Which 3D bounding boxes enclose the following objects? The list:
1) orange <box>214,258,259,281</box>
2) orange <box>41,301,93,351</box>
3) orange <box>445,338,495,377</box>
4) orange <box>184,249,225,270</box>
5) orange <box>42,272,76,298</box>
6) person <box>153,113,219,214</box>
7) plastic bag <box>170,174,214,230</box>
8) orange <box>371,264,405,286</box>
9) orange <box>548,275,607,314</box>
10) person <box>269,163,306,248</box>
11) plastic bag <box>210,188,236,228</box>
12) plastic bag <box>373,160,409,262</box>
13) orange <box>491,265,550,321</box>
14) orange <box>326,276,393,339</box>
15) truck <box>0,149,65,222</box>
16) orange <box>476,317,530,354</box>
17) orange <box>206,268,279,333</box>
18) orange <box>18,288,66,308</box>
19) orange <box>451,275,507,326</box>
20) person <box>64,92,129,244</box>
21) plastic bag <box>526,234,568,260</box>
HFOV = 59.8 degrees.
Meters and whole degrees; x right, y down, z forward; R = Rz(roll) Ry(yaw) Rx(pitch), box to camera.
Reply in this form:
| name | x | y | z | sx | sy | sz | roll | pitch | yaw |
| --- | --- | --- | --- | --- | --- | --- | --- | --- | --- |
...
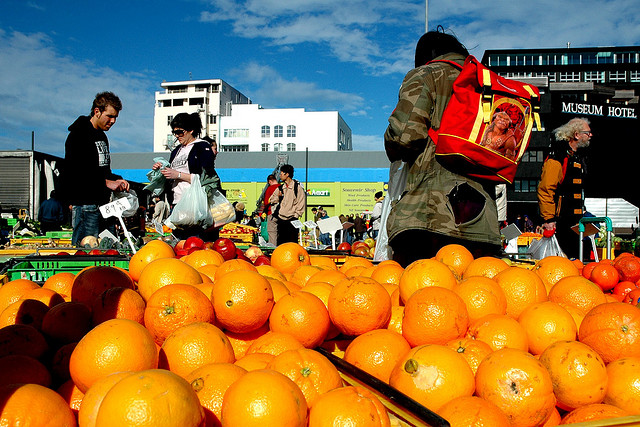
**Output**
| name | x | y | z | sx | sy | sz | roll | pitch | yaw |
| --- | --- | --- | --- | --- | --- | --- | --- | --- | --- |
| orange | -0.587 | 0.358 | 3.786 | 0.161 | 0.197 | 0.178 | -14 | -2 | 22 |
| orange | -1.508 | 0.644 | 3.248 | 0.174 | 0.249 | 0.194 | 8 | -26 | 2 |
| orange | 0.873 | 0.749 | 3.151 | 0.189 | 0.210 | 0.195 | -27 | 20 | -21 |
| orange | -0.886 | 0.342 | 4.246 | 0.173 | 0.160 | 0.183 | 3 | -3 | 8 |
| orange | -1.781 | 0.477 | 3.815 | 0.155 | 0.178 | 0.160 | 0 | 1 | -35 |
| person | -1.722 | -0.677 | 7.153 | 0.741 | 1.310 | 0.870 | -1 | 5 | -36 |
| plastic bag | -1.551 | -0.140 | 6.864 | 0.526 | 0.766 | 0.322 | 4 | 2 | -32 |
| orange | 0.481 | 0.438 | 3.982 | 0.138 | 0.166 | 0.141 | 0 | 1 | -6 |
| orange | 1.661 | 0.516 | 3.616 | 0.248 | 0.284 | 0.264 | -6 | 9 | -25 |
| person | -0.602 | -0.135 | 10.504 | 0.583 | 1.564 | 1.019 | 1 | 4 | -8 |
| plastic bag | -1.283 | -0.081 | 7.221 | 0.150 | 0.434 | 0.384 | -6 | 15 | 46 |
| plastic bag | 0.681 | -0.038 | 5.375 | 0.291 | 0.964 | 0.732 | 2 | 4 | 6 |
| orange | 1.315 | 0.526 | 3.676 | 0.298 | 0.335 | 0.398 | 4 | 50 | 28 |
| orange | 0.242 | 0.564 | 3.461 | 0.322 | 0.403 | 0.410 | 0 | 37 | 14 |
| truck | -10.762 | -0.990 | 20.434 | 1.346 | 1.920 | 2.687 | 0 | 3 | -12 |
| orange | 1.061 | 0.698 | 3.226 | 0.230 | 0.227 | 0.229 | -1 | 45 | 3 |
| orange | -0.466 | 0.522 | 3.322 | 0.302 | 0.350 | 0.416 | 3 | 18 | 5 |
| orange | -1.751 | 0.523 | 3.532 | 0.166 | 0.114 | 0.143 | 5 | -7 | 39 |
| orange | 0.972 | 0.520 | 3.514 | 0.262 | 0.359 | 0.291 | 13 | -32 | -4 |
| person | -2.626 | -0.515 | 6.488 | 0.629 | 1.784 | 0.390 | -1 | 4 | -29 |
| plastic bag | 2.763 | 0.407 | 6.761 | 0.349 | 0.408 | 0.323 | 15 | -2 | 8 |
